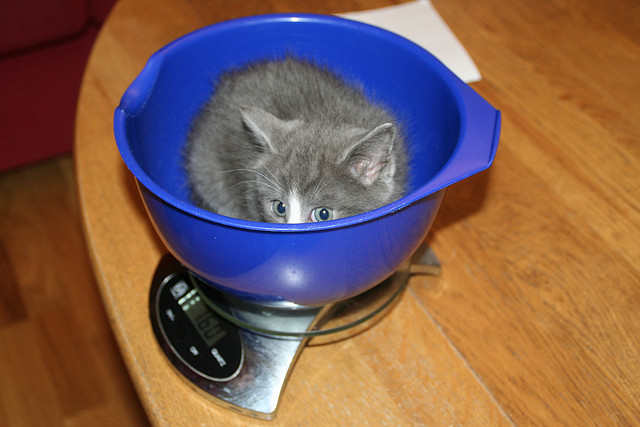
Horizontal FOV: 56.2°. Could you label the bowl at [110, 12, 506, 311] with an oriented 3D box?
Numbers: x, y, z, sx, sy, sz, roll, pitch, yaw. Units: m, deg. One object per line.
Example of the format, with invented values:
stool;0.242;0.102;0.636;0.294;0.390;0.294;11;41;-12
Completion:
bowl;-0.051;0.005;1.510;0.826;0.368;0.732;15;54;11
